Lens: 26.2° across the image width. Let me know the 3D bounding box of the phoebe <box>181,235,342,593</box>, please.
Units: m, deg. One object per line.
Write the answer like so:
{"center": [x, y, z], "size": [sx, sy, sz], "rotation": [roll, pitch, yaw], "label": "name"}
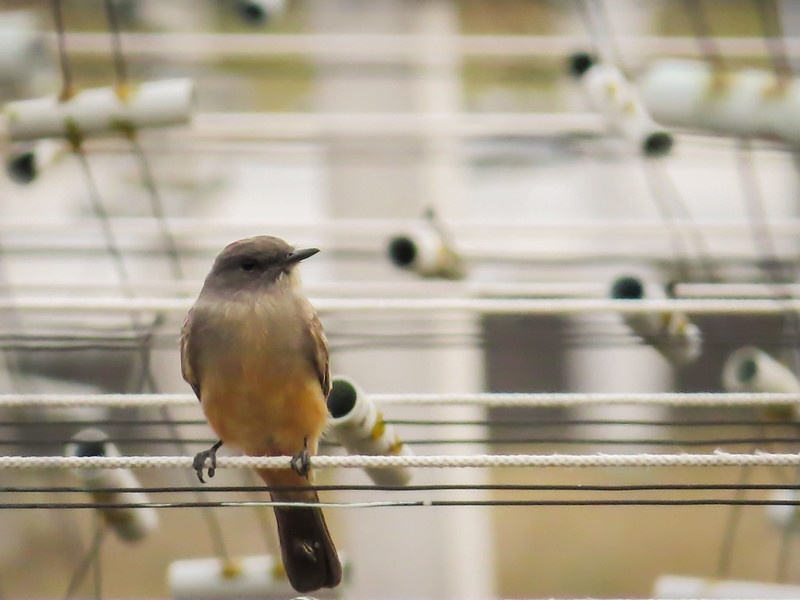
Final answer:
{"center": [-0.520, 0.480, 6.781], "size": [0.610, 1.415, 0.593], "rotation": [-9, 12, -3], "label": "phoebe"}
